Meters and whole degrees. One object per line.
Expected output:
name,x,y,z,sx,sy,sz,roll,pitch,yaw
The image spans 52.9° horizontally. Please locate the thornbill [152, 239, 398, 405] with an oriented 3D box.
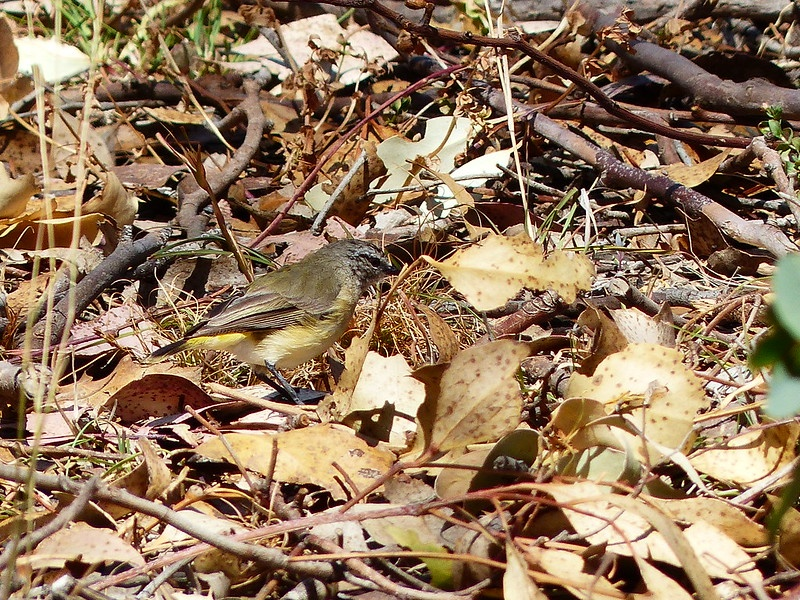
thornbill,-0.567,0.063,3.324,0.451,1.177,0.566,6,95,47
